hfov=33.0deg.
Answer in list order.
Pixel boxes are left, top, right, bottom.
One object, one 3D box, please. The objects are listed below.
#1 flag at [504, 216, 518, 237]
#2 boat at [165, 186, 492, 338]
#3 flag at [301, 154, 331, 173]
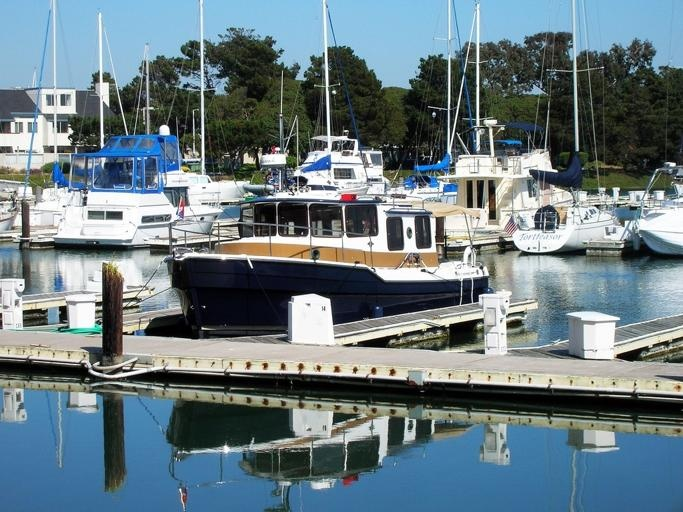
[{"bbox_3d":[7.073,-1.195,48.109,0.057,0.844,0.613,-11,-23,-25],"label":"flag"},{"bbox_3d":[-0.827,0.321,31.182,7.359,2.836,4.024,-3,5,-33],"label":"boat"},{"bbox_3d":[-1.324,-4.093,52.145,1.235,0.587,0.805,-4,8,14],"label":"flag"}]
